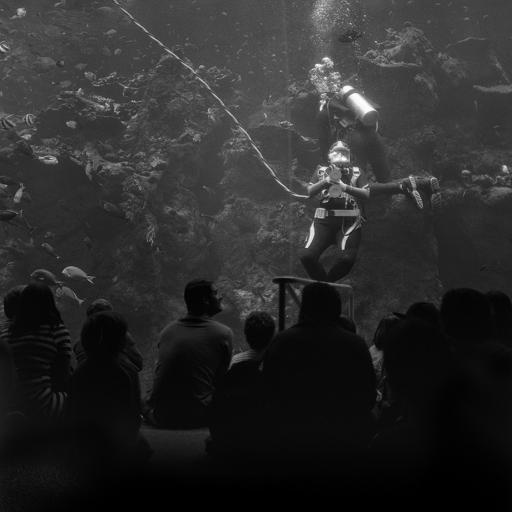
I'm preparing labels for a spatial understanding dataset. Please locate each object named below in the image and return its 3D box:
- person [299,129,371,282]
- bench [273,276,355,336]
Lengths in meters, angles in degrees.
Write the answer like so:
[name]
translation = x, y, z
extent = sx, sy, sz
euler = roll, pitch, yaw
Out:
[person]
translation = 1.041, -0.582, 9.215
extent = 0.835, 1.693, 1.078
euler = -2, 12, 18
[bench]
translation = 0.708, 0.640, 8.122
extent = 0.827, 0.952, 0.617
euler = -9, 1, 4
